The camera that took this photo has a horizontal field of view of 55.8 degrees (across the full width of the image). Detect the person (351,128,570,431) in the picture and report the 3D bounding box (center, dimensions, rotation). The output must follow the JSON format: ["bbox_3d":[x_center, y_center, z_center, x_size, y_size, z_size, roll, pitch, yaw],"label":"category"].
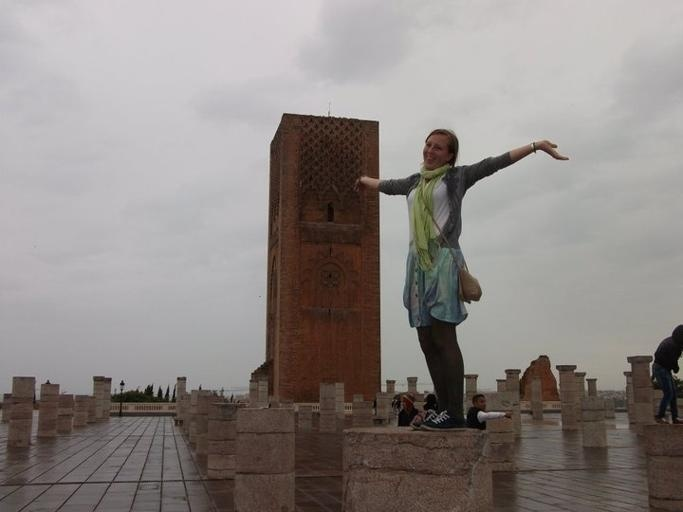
[{"bbox_3d":[0.822,0.151,5.196,0.456,2.383,1.134,11,-18,-41],"label":"person"}]

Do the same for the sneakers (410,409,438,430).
[{"bbox_3d":[0.649,1.301,5.190,0.159,0.187,0.426,4,-20,-9],"label":"sneakers"}]

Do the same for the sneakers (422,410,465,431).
[{"bbox_3d":[0.762,1.255,4.943,0.351,0.151,0.133,2,-12,0],"label":"sneakers"}]
